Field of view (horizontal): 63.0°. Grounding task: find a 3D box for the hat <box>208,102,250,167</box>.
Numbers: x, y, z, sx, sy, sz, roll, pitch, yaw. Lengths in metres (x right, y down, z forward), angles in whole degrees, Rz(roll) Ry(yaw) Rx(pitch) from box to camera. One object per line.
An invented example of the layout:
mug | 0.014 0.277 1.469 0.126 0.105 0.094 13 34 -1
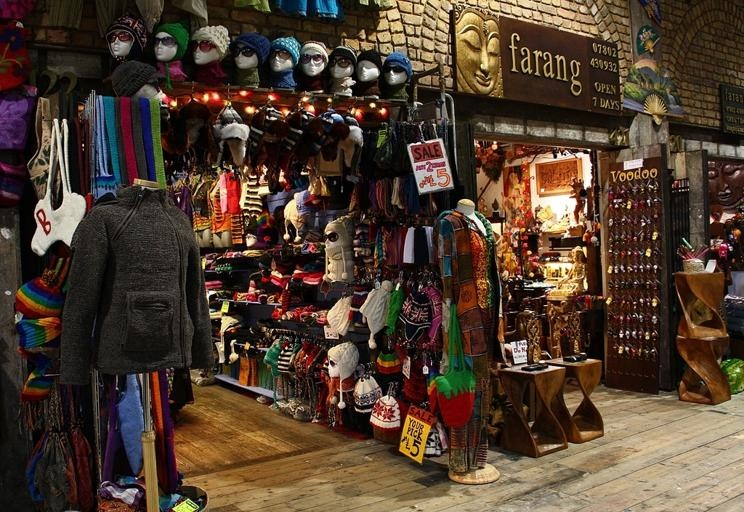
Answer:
hat | -1.199 -1.035 5.126 0.295 0.508 0.222 -6 15 -4

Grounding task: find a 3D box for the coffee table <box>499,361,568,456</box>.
coffee table | 1.527 1.405 5.799 0.606 0.798 0.558 -6 7 -37

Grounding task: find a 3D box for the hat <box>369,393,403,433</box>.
hat | 0.134 1.472 5.878 0.299 0.317 0.283 17 6 30

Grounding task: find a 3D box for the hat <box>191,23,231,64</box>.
hat | -1.446 -1.874 5.413 0.301 0.348 0.347 14 16 24

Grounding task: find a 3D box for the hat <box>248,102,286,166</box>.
hat | -0.898 -1.076 5.551 0.372 0.507 0.454 8 36 -21

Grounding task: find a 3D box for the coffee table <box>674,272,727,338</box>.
coffee table | 3.905 0.559 7.143 0.541 0.731 0.546 -4 1 -26

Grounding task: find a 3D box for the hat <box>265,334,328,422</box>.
hat | -0.831 1.366 6.841 0.457 0.922 0.973 0 -1 -37

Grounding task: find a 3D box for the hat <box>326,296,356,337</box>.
hat | -0.307 0.621 6.267 0.200 0.442 0.475 -6 7 -36

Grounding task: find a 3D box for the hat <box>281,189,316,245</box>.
hat | -0.794 -0.453 7.109 0.396 0.527 0.539 7 17 43

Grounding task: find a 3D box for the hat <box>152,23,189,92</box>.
hat | -1.721 -1.700 5.168 0.291 0.560 0.221 -3 5 -16

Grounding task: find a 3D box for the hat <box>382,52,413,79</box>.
hat | 0.263 -1.919 6.151 0.206 0.228 0.290 -2 -10 20

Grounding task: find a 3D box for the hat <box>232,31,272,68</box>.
hat | -1.058 -1.868 5.541 0.278 0.250 0.211 13 -11 -32

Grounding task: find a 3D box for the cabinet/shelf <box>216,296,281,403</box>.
cabinet/shelf | -1.573 1.229 8.203 1.325 1.211 0.482 2 -2 45

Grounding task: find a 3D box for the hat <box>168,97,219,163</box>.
hat | -1.575 -1.062 5.234 0.392 0.508 0.379 -4 6 -26

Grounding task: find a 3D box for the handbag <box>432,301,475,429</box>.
handbag | 0.687 0.885 5.054 0.320 0.992 0.177 -1 5 5

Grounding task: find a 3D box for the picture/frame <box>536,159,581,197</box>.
picture/frame | 2.861 -1.200 9.247 0.027 0.464 0.633 -1 0 -36

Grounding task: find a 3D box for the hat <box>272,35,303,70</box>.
hat | -0.781 -1.894 5.633 0.212 0.231 0.288 17 17 13

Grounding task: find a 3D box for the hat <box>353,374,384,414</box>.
hat | -0.022 1.370 6.052 0.288 0.325 0.294 -6 -5 -14

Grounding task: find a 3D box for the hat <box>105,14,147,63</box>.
hat | -2.060 -1.823 5.096 0.275 0.388 0.329 3 1 23

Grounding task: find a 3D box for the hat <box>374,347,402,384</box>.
hat | 0.146 1.036 5.892 0.217 0.367 0.327 2 0 -8

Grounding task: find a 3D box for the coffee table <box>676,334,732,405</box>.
coffee table | 3.915 1.298 7.155 0.540 0.760 0.626 -2 0 29

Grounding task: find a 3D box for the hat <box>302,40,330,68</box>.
hat | -0.520 -1.927 5.771 0.335 0.226 0.150 -6 7 -39
